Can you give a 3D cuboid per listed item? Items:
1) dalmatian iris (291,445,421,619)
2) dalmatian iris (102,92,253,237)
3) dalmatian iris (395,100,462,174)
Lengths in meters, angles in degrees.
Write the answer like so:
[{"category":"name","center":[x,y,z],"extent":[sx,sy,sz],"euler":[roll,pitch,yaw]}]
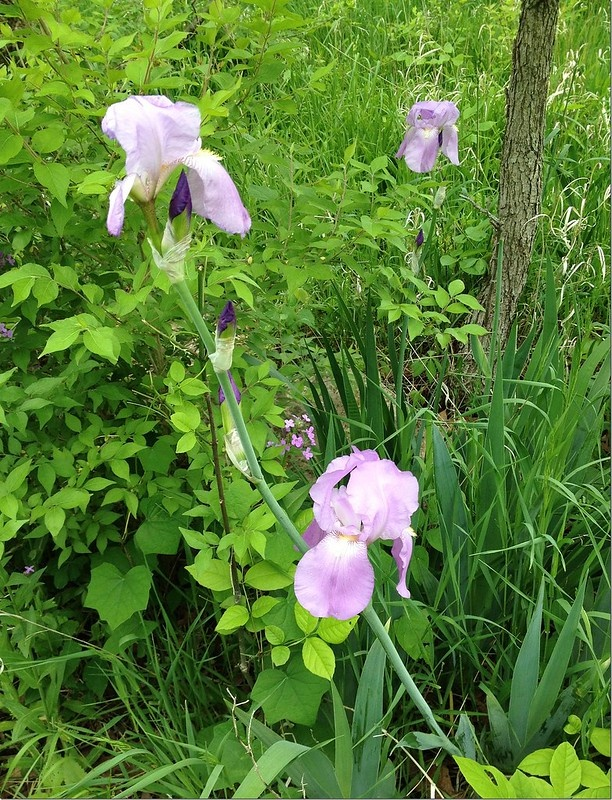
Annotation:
[{"category":"dalmatian iris","center":[0.065,0.189,0.899],"extent":[0.200,0.094,0.248],"euler":[14,54,21]},{"category":"dalmatian iris","center":[-0.186,-0.299,0.814],"extent":[0.214,0.166,0.191],"euler":[-20,39,-26]},{"category":"dalmatian iris","center":[0.409,-0.866,2.015],"extent":[0.194,0.235,0.193],"euler":[-5,42,-17]}]
